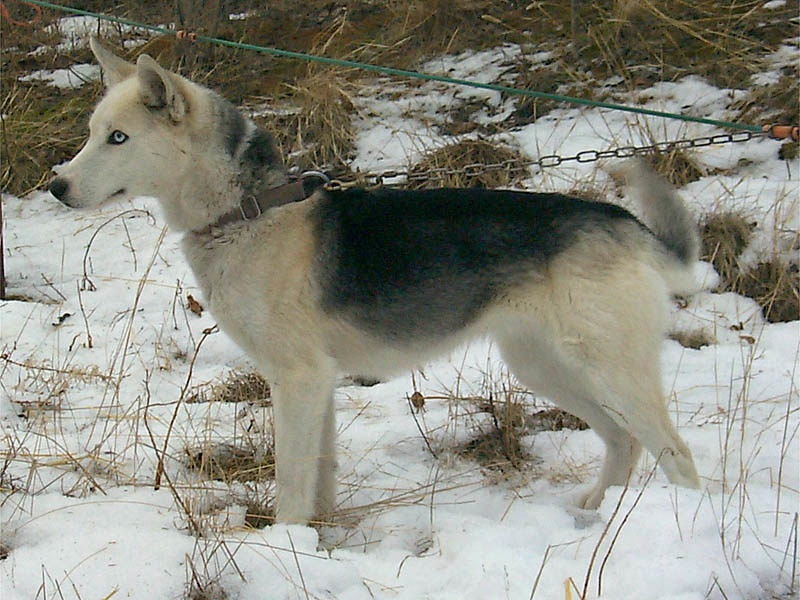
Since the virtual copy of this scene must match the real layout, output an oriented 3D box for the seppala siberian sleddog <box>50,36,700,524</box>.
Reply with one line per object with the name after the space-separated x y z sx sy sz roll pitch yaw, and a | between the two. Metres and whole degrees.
-0.067 -0.033 9.166 5.002 3.501 1.248 3 -1 -14 | seppala siberian sleddog
